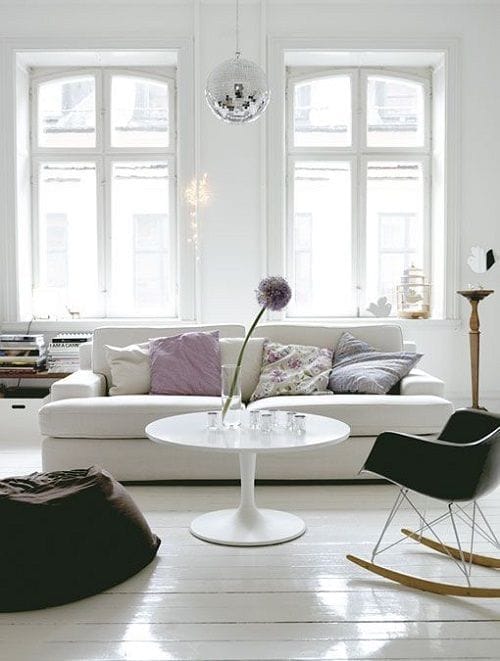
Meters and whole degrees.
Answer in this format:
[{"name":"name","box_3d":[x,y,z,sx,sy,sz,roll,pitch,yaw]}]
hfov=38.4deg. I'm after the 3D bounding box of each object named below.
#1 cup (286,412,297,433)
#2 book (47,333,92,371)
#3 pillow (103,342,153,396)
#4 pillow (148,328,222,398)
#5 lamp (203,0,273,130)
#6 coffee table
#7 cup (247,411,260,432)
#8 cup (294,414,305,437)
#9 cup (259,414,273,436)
[{"name":"cup","box_3d":[0.173,0.367,2.809,0.065,0.089,0.062,0,-2,0]},{"name":"book","box_3d":[-1.251,0.149,4.985,0.289,0.164,0.364,-1,0,-3]},{"name":"pillow","box_3d":[-0.672,0.210,4.026,0.130,0.254,0.329,-10,-3,37]},{"name":"pillow","box_3d":[-0.351,0.193,3.950,0.401,0.136,0.353,-4,47,-5]},{"name":"lamp","box_3d":[-0.062,-1.197,3.515,0.299,0.311,0.207,0,7,0]},{"name":"coffee table","box_3d":[-0.011,0.628,2.937,0.816,0.353,0.734,-2,-1,5]},{"name":"cup","box_3d":[0.004,0.373,2.942,0.076,0.104,0.072,0,-1,0]},{"name":"cup","box_3d":[0.190,0.356,2.734,0.041,0.065,0.107,0,6,-1]},{"name":"cup","box_3d":[0.064,0.358,2.797,0.048,0.075,0.078,0,6,0]}]
